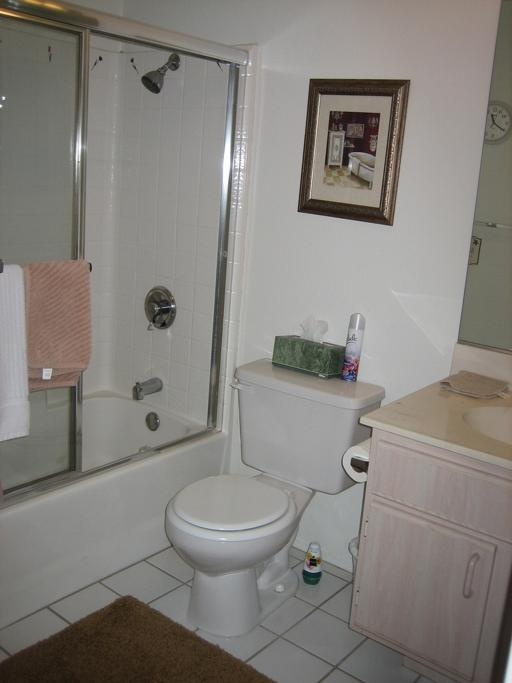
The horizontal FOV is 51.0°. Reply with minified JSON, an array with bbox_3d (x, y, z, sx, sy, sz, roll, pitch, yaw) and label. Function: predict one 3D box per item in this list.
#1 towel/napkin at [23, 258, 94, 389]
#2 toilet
[{"bbox_3d":[-0.553,-0.044,1.454,0.068,0.360,0.201,10,8,40],"label":"towel/napkin"},{"bbox_3d":[-0.008,0.489,1.731,0.649,0.727,0.482,-6,17,-42],"label":"toilet"}]
